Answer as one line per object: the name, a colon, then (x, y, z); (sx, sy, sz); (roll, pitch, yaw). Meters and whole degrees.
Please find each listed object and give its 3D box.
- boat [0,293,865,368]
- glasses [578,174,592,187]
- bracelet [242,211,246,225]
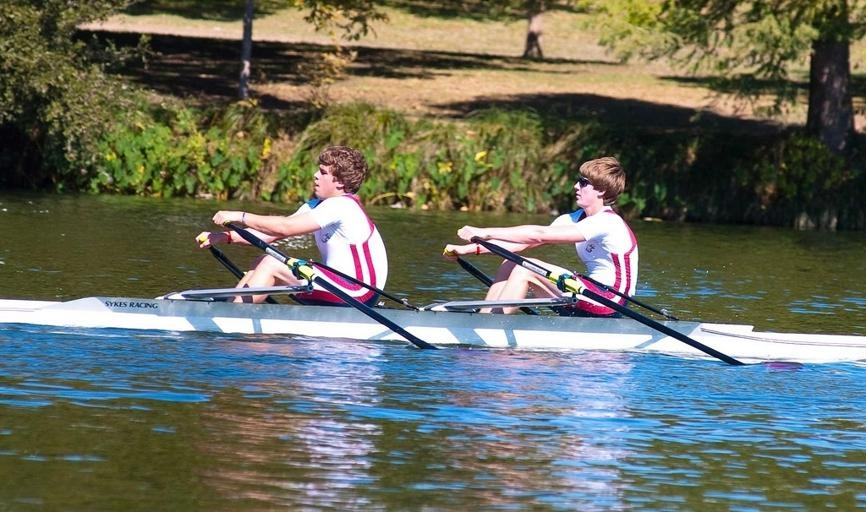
boat: (-0.343, 1.009, 18.401); (10.032, 0.375, 0.641); (2, -3, 1)
glasses: (2.038, -0.981, 18.155); (0.182, 0.050, 0.138); (22, -1, -17)
bracelet: (-2.444, -0.486, 18.093); (0.057, 0.127, 0.155); (2, 5, -7)
